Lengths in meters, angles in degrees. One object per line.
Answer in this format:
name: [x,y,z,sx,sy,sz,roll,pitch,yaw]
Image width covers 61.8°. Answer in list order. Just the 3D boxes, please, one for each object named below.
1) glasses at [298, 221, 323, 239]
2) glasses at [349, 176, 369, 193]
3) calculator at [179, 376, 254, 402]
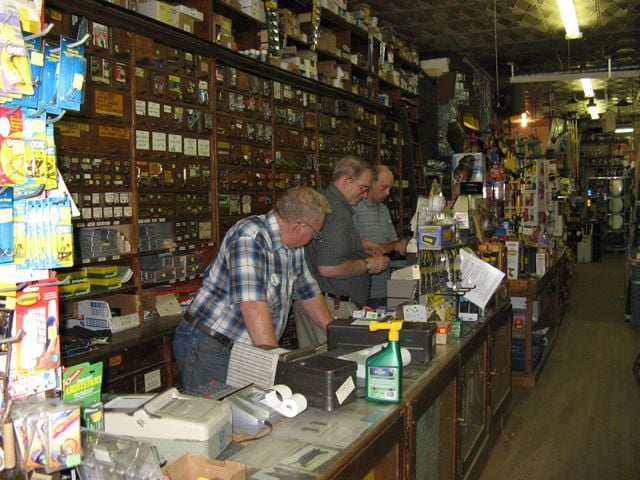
glasses: [-0.040,-0.054,2.772,0.029,0.102,0.089,-18,-1,-44]
glasses: [0.305,-0.427,4.059,0.126,0.121,0.129,12,17,38]
calculator: [-0.446,0.652,2.367,0.171,0.049,0.195,-4,0,-28]
